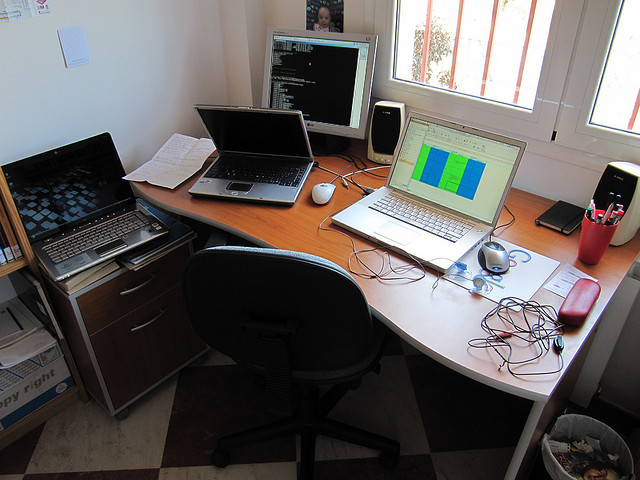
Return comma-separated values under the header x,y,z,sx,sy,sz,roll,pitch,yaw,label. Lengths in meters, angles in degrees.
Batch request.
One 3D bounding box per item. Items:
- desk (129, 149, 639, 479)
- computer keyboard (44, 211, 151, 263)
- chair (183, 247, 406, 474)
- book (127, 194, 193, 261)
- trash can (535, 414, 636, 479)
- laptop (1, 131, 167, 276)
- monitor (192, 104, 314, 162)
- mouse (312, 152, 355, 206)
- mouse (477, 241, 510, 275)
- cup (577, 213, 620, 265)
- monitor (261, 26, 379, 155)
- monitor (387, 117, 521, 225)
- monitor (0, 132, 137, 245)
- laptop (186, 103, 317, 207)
x,y,z,sx,sy,sz,roll,pitch,yaw,label
0.487,0.575,2.524,1.994,0.995,1.135,29,51,22,desk
-0.980,0.023,1.922,0.437,0.180,0.030,-4,-3,19,computer keyboard
-0.089,0.483,1.735,0.566,0.763,0.645,8,45,8,chair
-0.704,-0.045,1.986,0.291,0.023,0.268,36,45,21,book
1.003,0.783,1.789,0.248,0.285,0.282,0,59,11,trash can
-0.961,-0.158,1.880,0.467,0.344,0.416,-27,46,-37,laptop
-0.300,-0.491,2.090,0.401,0.266,0.322,4,39,16,monitor
0.059,-0.276,2.135,0.158,0.036,0.246,19,52,23,mouse
0.651,0.051,1.728,0.114,0.091,0.168,-1,16,4,mouse
1.020,0.000,1.678,0.122,0.188,0.130,-1,39,1,cup
-0.025,-0.761,2.301,0.546,0.538,0.283,10,33,10,monitor
0.565,-0.292,1.980,0.527,0.327,0.393,27,43,18,monitor
-1.151,-0.196,2.134,0.545,0.335,0.407,-29,55,-28,monitor
-0.328,-0.413,2.043,0.482,0.323,0.330,5,41,9,laptop
